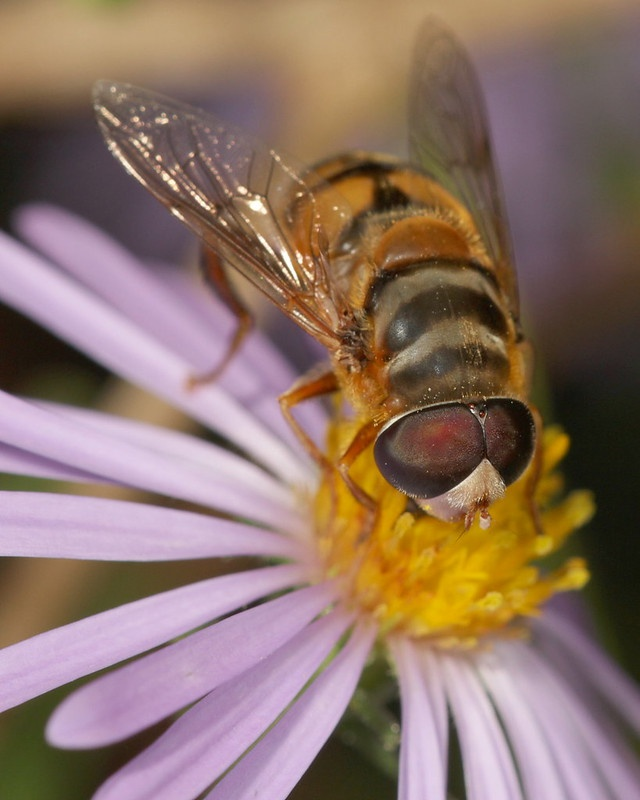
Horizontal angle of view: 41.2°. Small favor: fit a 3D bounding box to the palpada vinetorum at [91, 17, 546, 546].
[{"bbox_3d":[0.021,-0.082,0.791,0.344,0.153,0.449,-18,62,-29],"label":"palpada vinetorum"}]
